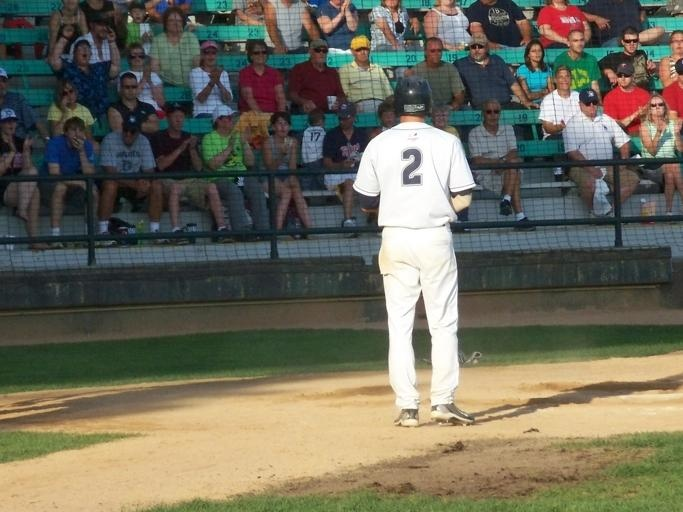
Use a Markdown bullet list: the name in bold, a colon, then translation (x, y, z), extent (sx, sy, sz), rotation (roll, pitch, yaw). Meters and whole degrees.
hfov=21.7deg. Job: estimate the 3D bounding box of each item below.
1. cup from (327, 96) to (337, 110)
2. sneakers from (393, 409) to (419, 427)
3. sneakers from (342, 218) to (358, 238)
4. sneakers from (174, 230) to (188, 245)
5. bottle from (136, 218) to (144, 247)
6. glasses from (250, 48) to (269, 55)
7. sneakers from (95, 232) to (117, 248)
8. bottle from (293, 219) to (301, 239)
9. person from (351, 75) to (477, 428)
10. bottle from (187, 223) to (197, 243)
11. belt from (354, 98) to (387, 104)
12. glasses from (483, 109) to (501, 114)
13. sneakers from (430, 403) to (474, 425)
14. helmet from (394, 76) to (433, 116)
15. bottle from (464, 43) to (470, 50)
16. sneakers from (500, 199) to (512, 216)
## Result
- **cup**: translation (-0.095, -2.133, 25.028), extent (0.137, 0.213, 0.133), rotation (-3, 3, 0)
- **sneakers**: translation (0.720, 1.740, 19.144), extent (0.265, 0.204, 0.189), rotation (-3, 3, 0)
- **sneakers**: translation (0.138, -0.357, 23.681), extent (0.180, 0.337, 0.183), rotation (-3, 33, 3)
- **sneakers**: translation (-2.085, -0.237, 23.465), extent (0.220, 0.215, 0.144), rotation (-1, 5, -22)
- **bottle**: translation (-2.625, -0.304, 23.610), extent (0.130, 0.315, 0.526), rotation (-4, 3, -6)
- **glasses**: translation (-1.113, -2.830, 24.911), extent (0.218, 0.073, 0.134), rotation (-4, 3, -5)
- **sneakers**: translation (-3.018, -0.203, 23.191), extent (0.278, 0.201, 0.607), rotation (-4, 3, -8)
- **bottle**: translation (-0.558, -0.347, 23.708), extent (0.150, 0.217, 0.070), rotation (-2, 2, 0)
- **person**: translation (0.859, -0.044, 19.174), extent (1.168, 3.758, 0.418), rotation (-3, 3, 0)
- **bottle**: translation (-1.944, -0.292, 23.653), extent (0.144, 0.264, 0.307), rotation (-4, 3, -6)
- **belt**: translation (0.427, -2.184, 25.213), extent (0.440, 0.070, 0.043), rotation (-2, -9, -1)
- **glasses**: translation (2.129, -1.993, 24.825), extent (0.209, 0.078, 0.126), rotation (-4, 3, -14)
- **sneakers**: translation (1.202, 1.712, 19.227), extent (0.533, 0.279, 0.193), rotation (3, 0, -9)
- **helmet**: translation (0.806, -1.713, 19.176), extent (0.327, 0.397, 0.438), rotation (2, 17, 8)
- **bottle**: translation (1.853, -3.015, 25.817), extent (0.033, 0.111, 0.063), rotation (14, 9, 17)
- **sneakers**: translation (2.281, -0.655, 24.430), extent (0.166, 0.223, 0.069), rotation (-3, 3, 13)
